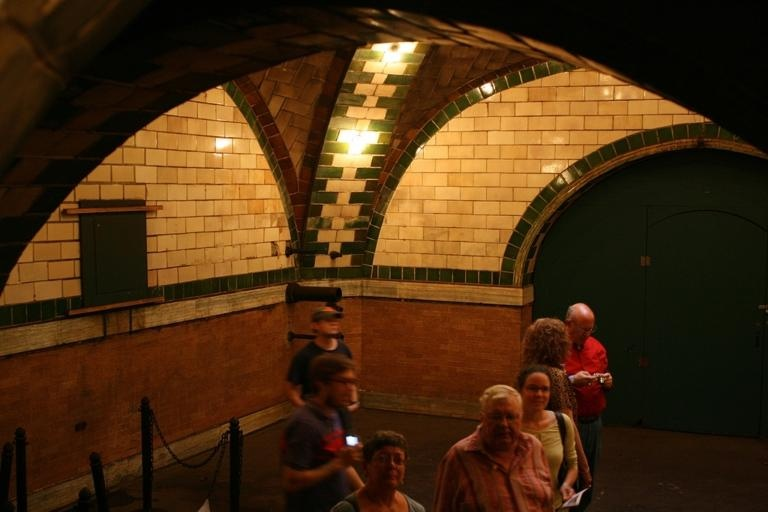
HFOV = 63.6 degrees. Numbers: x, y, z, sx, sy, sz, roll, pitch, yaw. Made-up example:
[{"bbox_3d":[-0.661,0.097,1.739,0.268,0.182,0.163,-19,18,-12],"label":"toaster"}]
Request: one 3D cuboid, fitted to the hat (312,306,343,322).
[{"bbox_3d":[-0.526,0.539,5.665,0.236,0.075,0.158,-9,-7,13],"label":"hat"}]
